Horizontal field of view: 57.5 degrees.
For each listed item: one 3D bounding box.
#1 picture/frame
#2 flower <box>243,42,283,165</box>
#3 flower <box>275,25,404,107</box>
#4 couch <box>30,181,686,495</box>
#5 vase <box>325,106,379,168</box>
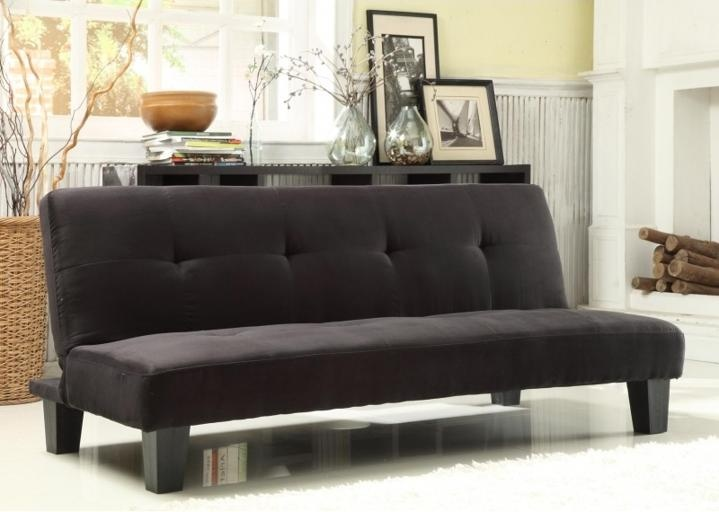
[{"bbox_3d":[0.449,-1.074,4.207,1.132,1.280,0.096,-1,-8,-28],"label":"picture/frame"},{"bbox_3d":[-0.585,-0.940,4.026,0.214,0.803,0.495,-1,1,-8],"label":"flower"},{"bbox_3d":[-0.038,-1.135,4.169,0.482,0.265,0.434,-25,33,-22],"label":"flower"},{"bbox_3d":[-0.009,0.203,2.538,2.243,1.058,1.024,-1,1,-28],"label":"couch"},{"bbox_3d":[-0.039,-0.703,4.053,0.321,0.428,0.323,-1,-2,16],"label":"vase"}]
